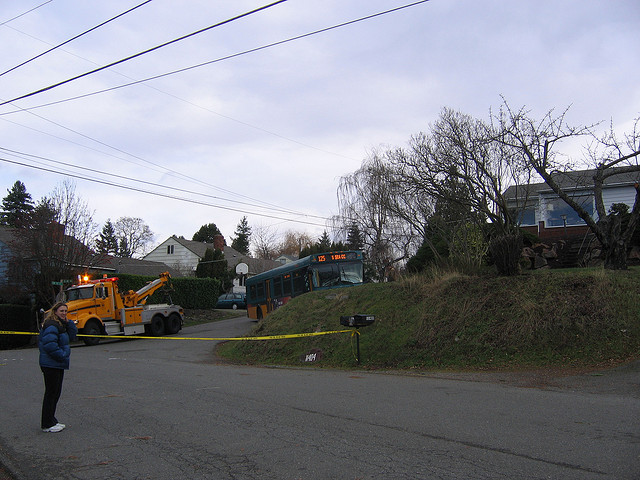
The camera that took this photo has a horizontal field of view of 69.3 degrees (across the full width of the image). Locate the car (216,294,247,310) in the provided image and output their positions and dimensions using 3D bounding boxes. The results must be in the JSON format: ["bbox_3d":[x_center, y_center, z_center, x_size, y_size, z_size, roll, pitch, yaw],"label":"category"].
[{"bbox_3d":[-8.874,6.199,46.503,3.163,1.498,1.131,-6,-5,34],"label":"car"}]

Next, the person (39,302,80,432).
[{"bbox_3d":[-4.415,2.054,7.668,0.459,2.016,0.746,-1,-3,-15],"label":"person"}]

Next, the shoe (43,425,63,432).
[{"bbox_3d":[-4.241,2.955,7.320,0.241,0.121,0.096,0,-5,-4],"label":"shoe"}]

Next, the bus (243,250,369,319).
[{"bbox_3d":[-1.636,3.215,28.351,2.704,3.163,11.125,-3,-10,-30],"label":"bus"}]

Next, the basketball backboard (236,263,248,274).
[{"bbox_3d":[-7.217,2.619,42.376,0.206,1.208,1.313,-2,-3,34],"label":"basketball backboard"}]

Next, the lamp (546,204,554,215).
[{"bbox_3d":[17.093,-2.316,34.200,0.554,0.567,0.159,1,-6,42],"label":"lamp"}]

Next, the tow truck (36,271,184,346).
[{"bbox_3d":[-11.986,3.976,27.951,3.078,3.892,7.674,-7,-7,35],"label":"tow truck"}]

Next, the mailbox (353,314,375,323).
[{"bbox_3d":[1.361,2.441,14.347,0.651,0.240,0.243,-2,-4,-11],"label":"mailbox"}]
